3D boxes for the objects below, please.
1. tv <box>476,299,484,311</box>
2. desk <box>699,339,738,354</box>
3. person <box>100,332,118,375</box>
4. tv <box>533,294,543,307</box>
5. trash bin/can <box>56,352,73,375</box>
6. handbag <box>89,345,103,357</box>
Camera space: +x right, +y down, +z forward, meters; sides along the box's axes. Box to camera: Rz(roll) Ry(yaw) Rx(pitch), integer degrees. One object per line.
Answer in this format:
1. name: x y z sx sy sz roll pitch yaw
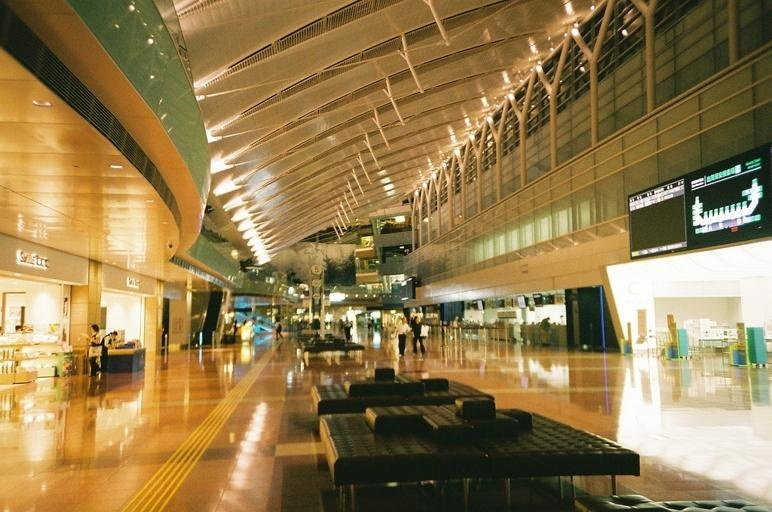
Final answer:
1. tv: 6.816 3.531 40.259 0.174 0.725 0.753 5 -5 -14
2. desk: 14.255 3.861 24.048 1.390 0.518 1.409 2 -5 -24
3. person: -10.539 3.608 21.176 0.479 1.547 1.061 5 -12 -26
4. tv: 8.832 2.548 32.307 0.573 0.815 0.683 2 -8 -3
5. trash bin/can: -11.787 3.933 20.408 0.381 0.865 0.801 3 -11 -13
6. handbag: -10.733 3.517 20.674 0.395 0.410 0.132 7 -7 -25
